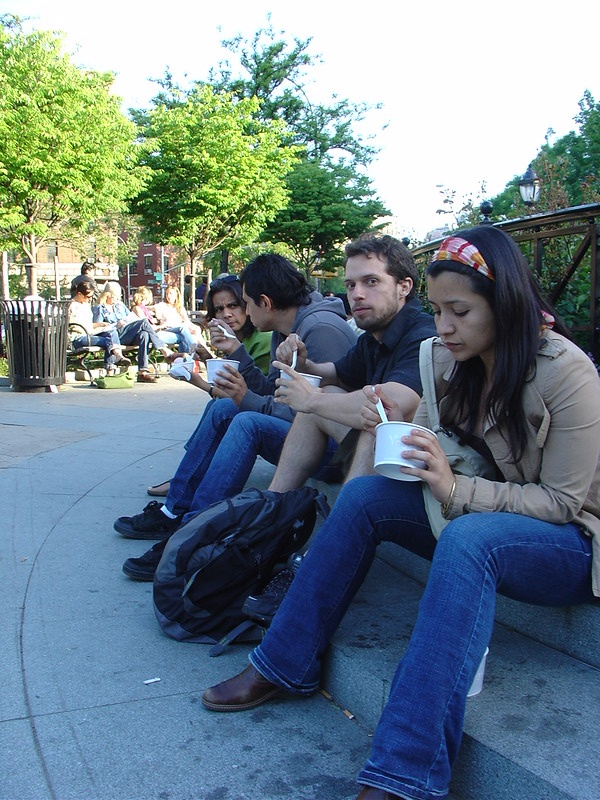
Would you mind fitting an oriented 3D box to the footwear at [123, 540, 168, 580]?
[{"bbox_3d":[-0.717,0.728,2.877,0.198,0.189,0.115,5,11,24],"label":"footwear"}]

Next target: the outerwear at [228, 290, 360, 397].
[{"bbox_3d":[0.064,-0.339,3.525,0.422,0.541,0.389,16,54,17],"label":"outerwear"}]

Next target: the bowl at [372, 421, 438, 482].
[{"bbox_3d":[0.272,0.149,1.764,0.175,0.118,0.167,14,-18,5],"label":"bowl"}]

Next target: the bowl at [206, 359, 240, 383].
[{"bbox_3d":[-0.420,-0.159,3.364,0.157,0.100,0.146,1,-11,0],"label":"bowl"}]

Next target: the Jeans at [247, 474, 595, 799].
[{"bbox_3d":[0.336,0.600,1.686,0.702,0.660,0.680,-3,11,-26],"label":"Jeans"}]

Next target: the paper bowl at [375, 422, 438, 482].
[{"bbox_3d":[0.294,0.112,1.740,0.180,0.115,0.165,14,-30,8],"label":"paper bowl"}]

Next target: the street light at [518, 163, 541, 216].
[{"bbox_3d":[4.510,-4.153,12.421,0.384,0.978,1.115,5,10,17],"label":"street light"}]

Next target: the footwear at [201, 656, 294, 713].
[{"bbox_3d":[-0.138,0.863,1.947,0.307,0.107,0.097,3,9,-27],"label":"footwear"}]

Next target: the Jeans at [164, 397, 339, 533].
[{"bbox_3d":[-0.305,0.278,2.986,0.391,0.759,0.518,29,46,7],"label":"Jeans"}]

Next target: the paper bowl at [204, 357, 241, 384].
[{"bbox_3d":[-0.411,-0.159,3.367,0.159,0.102,0.147,1,-12,0],"label":"paper bowl"}]
